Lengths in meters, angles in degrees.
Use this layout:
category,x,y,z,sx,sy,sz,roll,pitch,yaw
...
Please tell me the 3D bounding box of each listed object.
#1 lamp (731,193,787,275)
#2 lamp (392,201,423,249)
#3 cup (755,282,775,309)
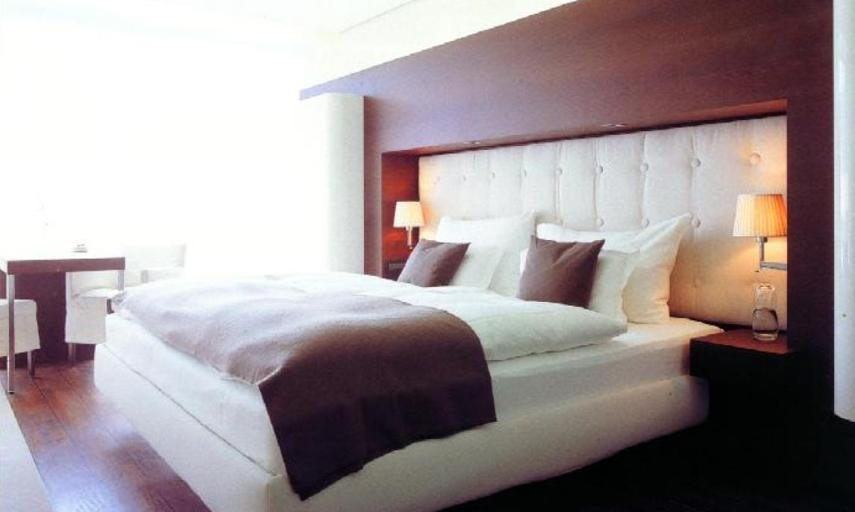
category,x,y,z,sx,sy,sz,roll,pitch,yaw
lamp,2.140,-0.143,3.721,0.303,0.523,0.284,6,17,28
lamp,-0.215,-0.284,5.797,0.308,0.404,0.289,-19,6,-25
cup,2.093,0.243,3.591,0.122,0.149,0.084,1,15,13
